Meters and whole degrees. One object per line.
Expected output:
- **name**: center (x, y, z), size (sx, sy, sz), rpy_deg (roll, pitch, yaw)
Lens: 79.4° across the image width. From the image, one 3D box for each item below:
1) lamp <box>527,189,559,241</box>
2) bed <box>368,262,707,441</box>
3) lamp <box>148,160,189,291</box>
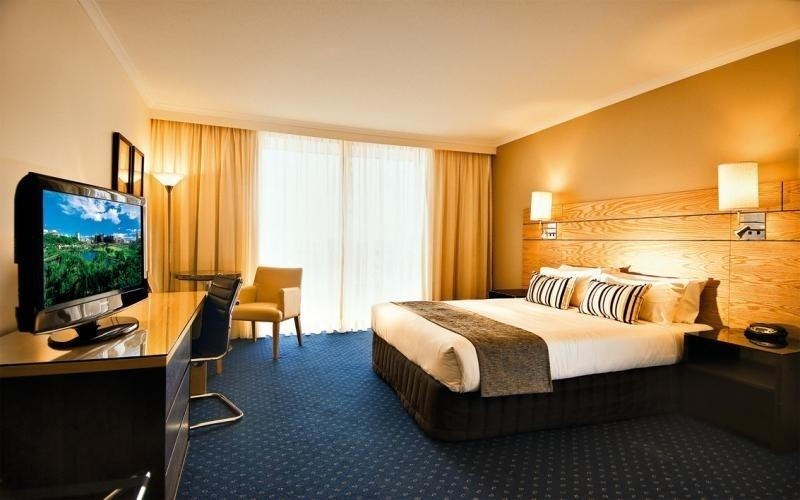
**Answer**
- **lamp**: center (1.898, -0.450, 6.347), size (0.349, 0.623, 0.466), rpy_deg (3, 4, 17)
- **bed**: center (1.201, 1.013, 4.592), size (2.079, 0.868, 1.908), rpy_deg (2, -3, -14)
- **lamp**: center (-2.881, -0.243, 5.991), size (0.345, 1.515, 0.408), rpy_deg (1, 5, -25)
